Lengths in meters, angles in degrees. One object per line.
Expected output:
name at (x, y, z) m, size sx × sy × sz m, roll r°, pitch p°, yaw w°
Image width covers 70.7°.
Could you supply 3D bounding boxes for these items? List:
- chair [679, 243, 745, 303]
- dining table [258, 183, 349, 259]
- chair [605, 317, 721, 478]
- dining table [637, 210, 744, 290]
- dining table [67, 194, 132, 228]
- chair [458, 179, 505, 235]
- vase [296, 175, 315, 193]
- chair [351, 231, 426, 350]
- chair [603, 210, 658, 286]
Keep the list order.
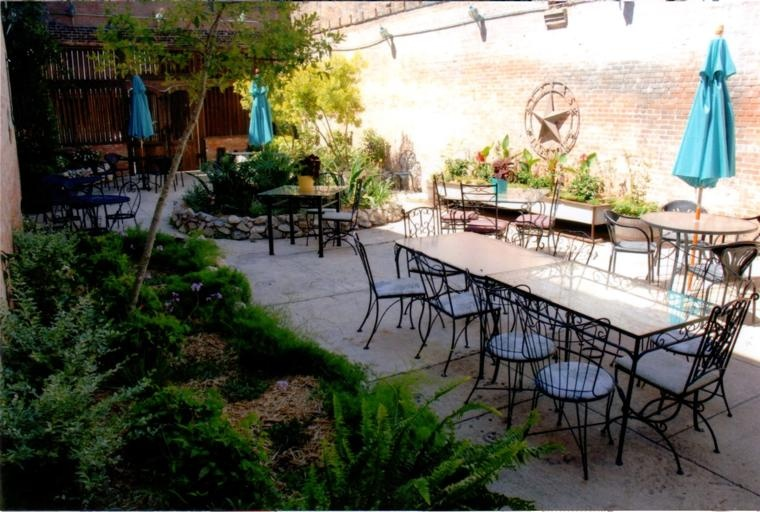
chair at (4.061, 0.217, 6.504) m, size 0.571 × 0.661 × 0.498 m, roll -8°, pitch 33°, yaw 6°
dining table at (-1.463, -0.711, 9.888) m, size 1.382 × 1.116 × 2.120 m, roll -3°, pitch 13°, yaw -11°
chair at (2.583, 1.128, 4.800) m, size 0.860 × 1.264 × 0.804 m, roll 9°, pitch 13°, yaw 40°
dining table at (4.097, 0.091, 7.176) m, size 1.231 × 0.872 × 1.209 m, roll 6°, pitch 20°, yaw 20°
dining table at (-5.152, -0.794, 9.739) m, size 1.044 × 0.484 × 0.988 m, roll -7°, pitch 28°, yaw -23°
chair at (1.829, -0.641, 9.351) m, size 0.730 × 1.278 × 0.785 m, roll 7°, pitch 15°, yaw 30°
vase at (-1.333, -1.282, 9.551) m, size 0.359 × 0.261 × 0.320 m, roll -3°, pitch 13°, yaw -8°
chair at (0.369, 0.432, 6.486) m, size 0.880 × 1.294 × 0.842 m, roll 0°, pitch 1°, yaw 36°
chair at (3.567, -0.135, 7.614) m, size 0.690 × 0.881 × 0.742 m, roll 2°, pitch 16°, yaw 23°
